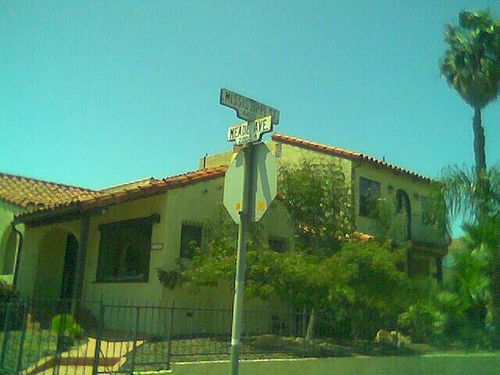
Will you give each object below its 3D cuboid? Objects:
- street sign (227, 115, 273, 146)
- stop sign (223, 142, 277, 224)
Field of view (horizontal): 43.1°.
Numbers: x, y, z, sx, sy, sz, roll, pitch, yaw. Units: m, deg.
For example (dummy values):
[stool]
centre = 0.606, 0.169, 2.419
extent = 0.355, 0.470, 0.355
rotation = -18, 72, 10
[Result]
[street sign]
centre = -0.010, -0.979, 11.016
extent = 0.883, 0.581, 0.334
rotation = -10, -22, 25
[stop sign]
centre = 0.022, -0.073, 10.932
extent = 1.067, 1.315, 0.389
rotation = -12, -23, 31
